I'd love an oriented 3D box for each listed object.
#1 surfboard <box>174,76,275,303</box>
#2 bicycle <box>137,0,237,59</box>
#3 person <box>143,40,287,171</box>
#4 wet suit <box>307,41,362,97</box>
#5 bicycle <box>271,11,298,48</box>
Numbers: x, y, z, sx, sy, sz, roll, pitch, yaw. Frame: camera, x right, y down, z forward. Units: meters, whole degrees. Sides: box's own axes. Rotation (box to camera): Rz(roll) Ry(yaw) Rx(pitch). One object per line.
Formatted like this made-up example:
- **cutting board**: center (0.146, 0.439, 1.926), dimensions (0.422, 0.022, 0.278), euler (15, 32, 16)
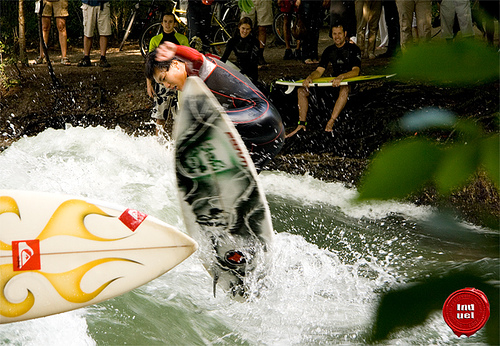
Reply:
- **surfboard**: center (-0.283, 0.119, 4.564), dimensions (0.610, 0.337, 2.145), euler (-4, 54, -16)
- **bicycle**: center (-0.802, -1.992, 7.954), dimensions (1.451, 0.887, 0.717), euler (8, 23, -4)
- **person**: center (-0.232, -0.531, 4.385), dimensions (1.196, 0.892, 0.292), euler (6, -16, -25)
- **wet suit**: center (0.952, -1.181, 6.090), dimensions (0.464, 0.755, 0.758), euler (8, 28, 25)
- **bicycle**: center (0.507, -2.316, 8.949), dimensions (0.119, 0.493, 0.502), euler (0, -7, 21)
